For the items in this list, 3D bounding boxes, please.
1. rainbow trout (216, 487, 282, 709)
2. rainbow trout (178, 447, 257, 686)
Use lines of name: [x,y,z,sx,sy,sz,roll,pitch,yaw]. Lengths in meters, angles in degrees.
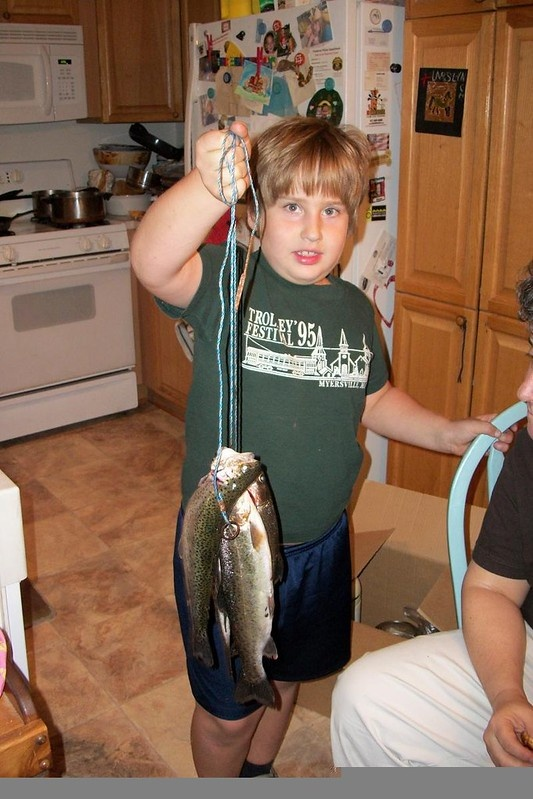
rainbow trout: [-0.021,0.223,0.732,0.090,0.267,0.049,7,-20,-31]
rainbow trout: [-0.064,0.195,0.738,0.077,0.318,0.124,-17,27,-39]
